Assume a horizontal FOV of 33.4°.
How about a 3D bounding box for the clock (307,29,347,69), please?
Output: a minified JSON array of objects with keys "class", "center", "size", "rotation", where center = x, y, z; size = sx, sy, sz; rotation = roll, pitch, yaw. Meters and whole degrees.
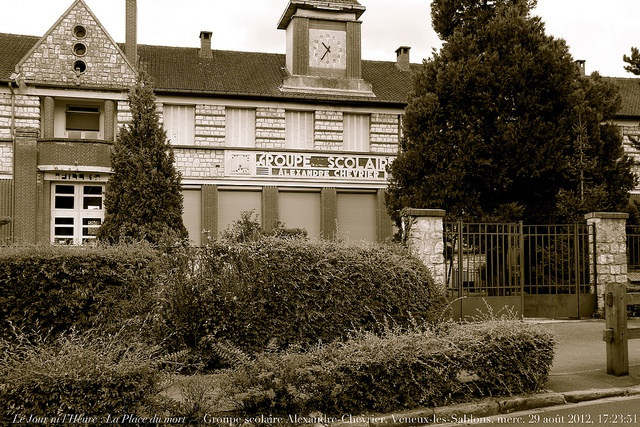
[{"class":"clock","center":[0.201,-7.092,46.395],"size":[1.620,1.731,0.148],"rotation":[-1,-1,-11]}]
